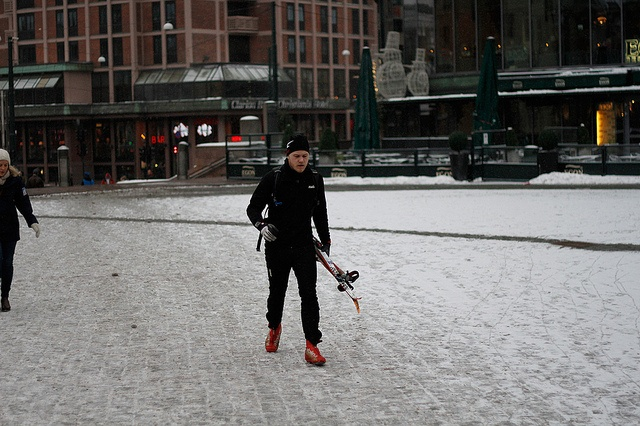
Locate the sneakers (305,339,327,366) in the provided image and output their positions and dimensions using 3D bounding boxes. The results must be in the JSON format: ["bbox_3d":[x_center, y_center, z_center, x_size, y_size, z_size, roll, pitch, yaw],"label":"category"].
[{"bbox_3d":[-0.084,1.776,11.731,0.370,0.289,0.181,5,11,43],"label":"sneakers"}]

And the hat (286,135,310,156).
[{"bbox_3d":[-0.292,-0.883,11.800,0.220,0.248,0.285,-2,13,-18],"label":"hat"}]

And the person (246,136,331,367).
[{"bbox_3d":[-0.385,0.431,11.939,1.005,2.896,0.881,-3,8,1],"label":"person"}]

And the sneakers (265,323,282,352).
[{"bbox_3d":[-0.625,1.635,12.079,0.152,0.164,0.417,1,40,0],"label":"sneakers"}]

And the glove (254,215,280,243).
[{"bbox_3d":[-0.687,0.214,11.816,0.125,0.347,0.255,-47,-10,-1],"label":"glove"}]
